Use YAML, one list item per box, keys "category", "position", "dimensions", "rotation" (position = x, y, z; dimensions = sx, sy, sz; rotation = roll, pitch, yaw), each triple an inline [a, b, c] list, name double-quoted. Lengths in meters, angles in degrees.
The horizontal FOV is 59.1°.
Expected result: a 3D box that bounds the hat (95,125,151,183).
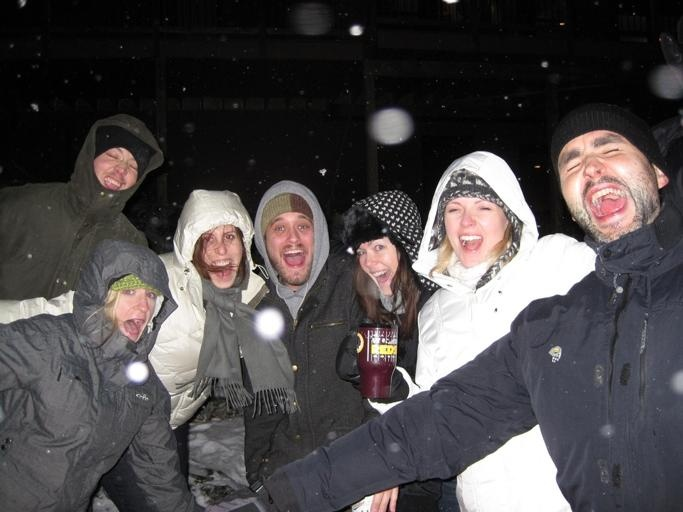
- category: "hat"
  position: [-1.939, -0.908, 5.381]
  dimensions: [0.374, 0.338, 0.426]
  rotation: [15, 3, 3]
